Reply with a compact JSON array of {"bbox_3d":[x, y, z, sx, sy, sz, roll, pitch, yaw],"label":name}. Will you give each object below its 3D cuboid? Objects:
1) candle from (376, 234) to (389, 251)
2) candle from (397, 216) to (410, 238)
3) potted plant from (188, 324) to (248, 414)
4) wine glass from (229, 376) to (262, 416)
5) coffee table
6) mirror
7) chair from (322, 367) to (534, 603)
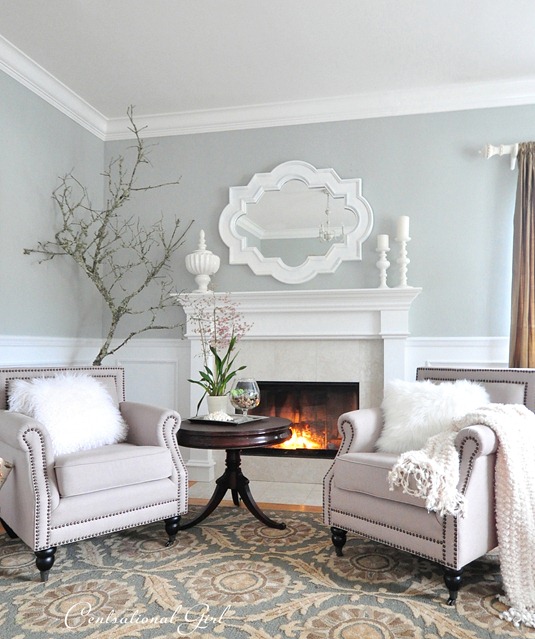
[{"bbox_3d":[0.789,-0.519,4.201,0.090,0.118,0.143,0,0,10],"label":"candle"},{"bbox_3d":[0.920,-0.618,4.161,0.085,0.177,0.179,0,0,14],"label":"candle"},{"bbox_3d":[-0.301,0.380,3.537,0.276,0.340,0.279,-2,-8,38],"label":"potted plant"},{"bbox_3d":[-0.135,0.424,3.302,0.142,0.203,0.159,0,0,-29],"label":"wine glass"},{"bbox_3d":[-0.204,0.803,3.239,0.582,0.486,0.561,6,-6,-42],"label":"coffee table"},{"bbox_3d":[0.241,-0.660,4.369,0.990,0.746,0.045,0,-4,7],"label":"mirror"},{"bbox_3d":[0.838,0.665,2.944,0.864,1.017,0.986,-4,-13,40],"label":"chair"}]
